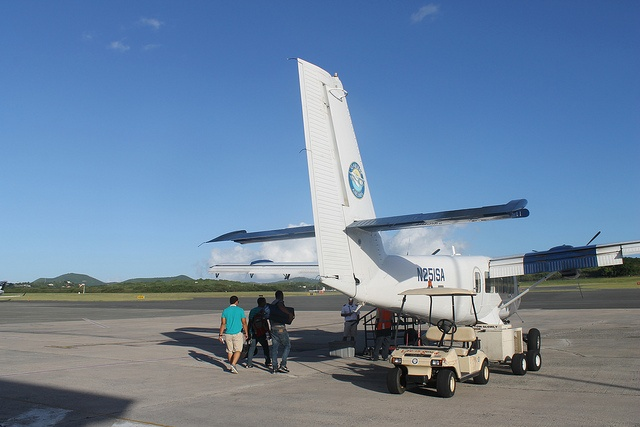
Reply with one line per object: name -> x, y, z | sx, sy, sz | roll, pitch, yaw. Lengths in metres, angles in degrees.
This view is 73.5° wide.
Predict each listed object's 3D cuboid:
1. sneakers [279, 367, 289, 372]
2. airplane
sneakers -> -1.398, 5.956, 16.403 | 0.431, 0.162, 0.157 | -5, -6, 31
airplane -> 5.725, 0.976, 17.676 | 13.686, 5.478, 12.437 | -5, -9, 37
